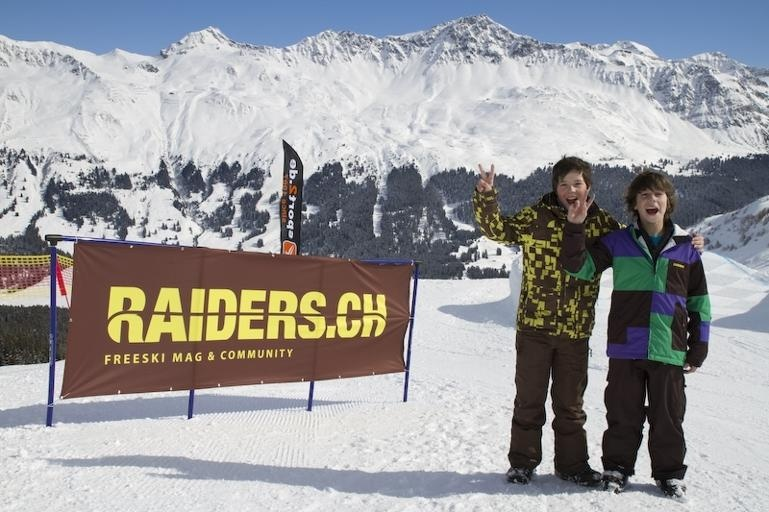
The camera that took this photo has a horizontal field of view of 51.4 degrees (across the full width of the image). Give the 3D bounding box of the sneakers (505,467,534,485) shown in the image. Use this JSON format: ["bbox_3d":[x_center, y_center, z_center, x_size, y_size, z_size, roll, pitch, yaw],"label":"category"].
[{"bbox_3d":[2.588,4.206,15.292,0.424,0.288,0.157,0,6,11],"label":"sneakers"}]
